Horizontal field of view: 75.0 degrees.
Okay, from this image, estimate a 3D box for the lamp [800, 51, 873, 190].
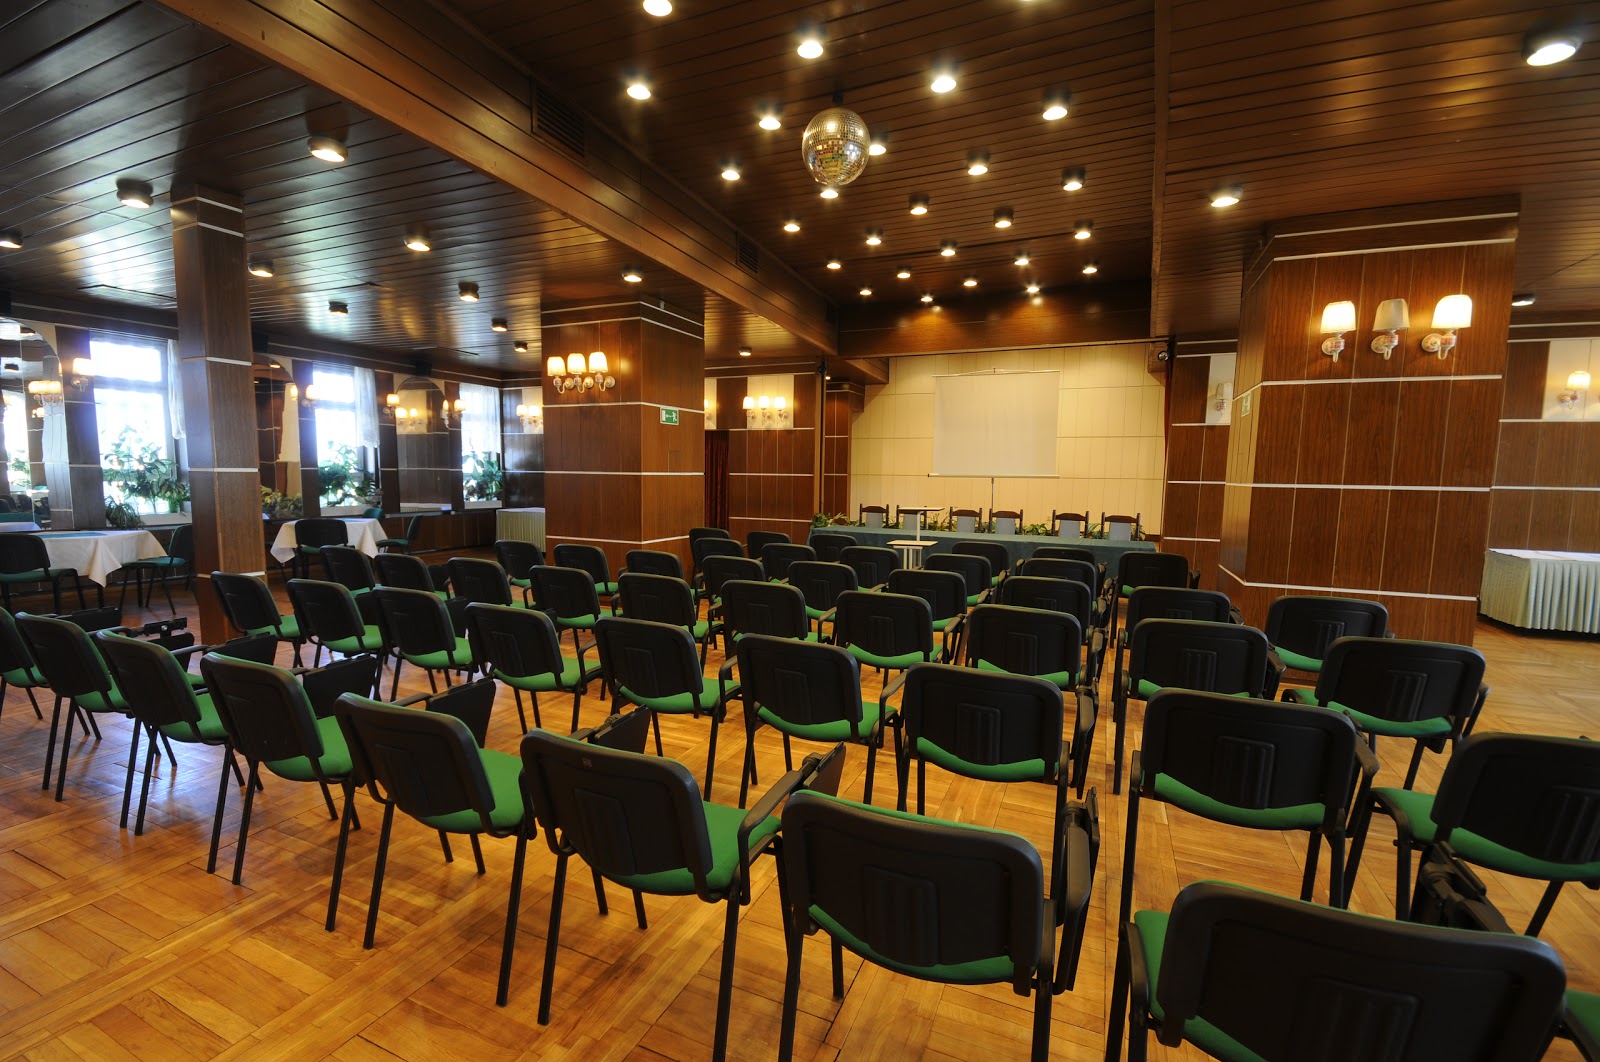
[{"bbox_3d":[0.251,-2.790,7.295,0.742,0.648,0.691,2,-2,-2],"label":"lamp"}]
